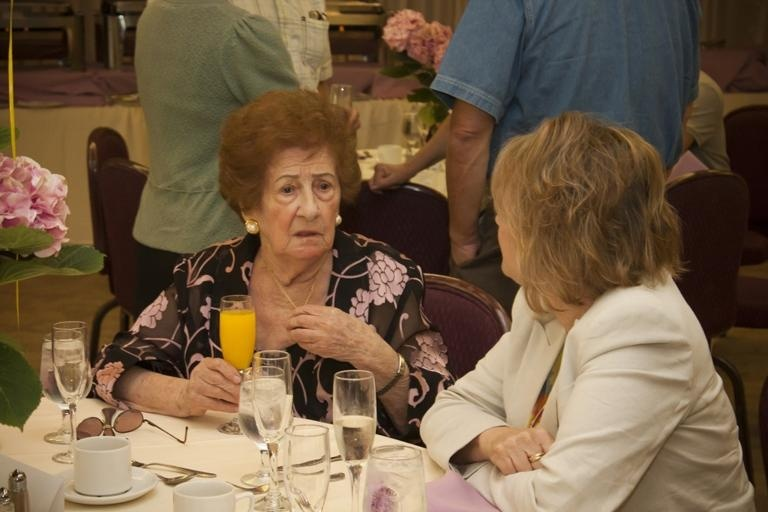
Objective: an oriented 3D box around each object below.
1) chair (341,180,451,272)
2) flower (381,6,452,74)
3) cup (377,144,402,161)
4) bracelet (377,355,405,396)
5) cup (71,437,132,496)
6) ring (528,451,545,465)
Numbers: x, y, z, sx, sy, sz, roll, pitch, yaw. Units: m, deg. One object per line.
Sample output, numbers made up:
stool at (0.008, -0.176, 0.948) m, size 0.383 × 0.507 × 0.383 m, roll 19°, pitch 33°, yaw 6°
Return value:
chair at (0.085, -0.082, 3.293) m, size 0.388 × 0.538 × 0.376 m, roll 0°, pitch -2°, yaw 7°
flower at (0.159, -1.071, 3.769) m, size 0.387 × 0.263 × 0.156 m, roll 29°, pitch 8°, yaw -11°
cup at (0.040, -0.541, 3.988) m, size 0.104 × 0.084 × 0.101 m, roll 0°, pitch 15°, yaw 0°
bracelet at (0.027, 0.337, 2.098) m, size 0.028 × 0.091 × 0.089 m, roll 29°, pitch -34°, yaw -20°
cup at (-0.625, 0.452, 1.692) m, size 0.114 × 0.101 × 0.124 m, roll 0°, pitch -1°, yaw 0°
ring at (0.355, 0.469, 1.770) m, size 0.031 × 0.014 × 0.035 m, roll -14°, pitch -24°, yaw -50°
